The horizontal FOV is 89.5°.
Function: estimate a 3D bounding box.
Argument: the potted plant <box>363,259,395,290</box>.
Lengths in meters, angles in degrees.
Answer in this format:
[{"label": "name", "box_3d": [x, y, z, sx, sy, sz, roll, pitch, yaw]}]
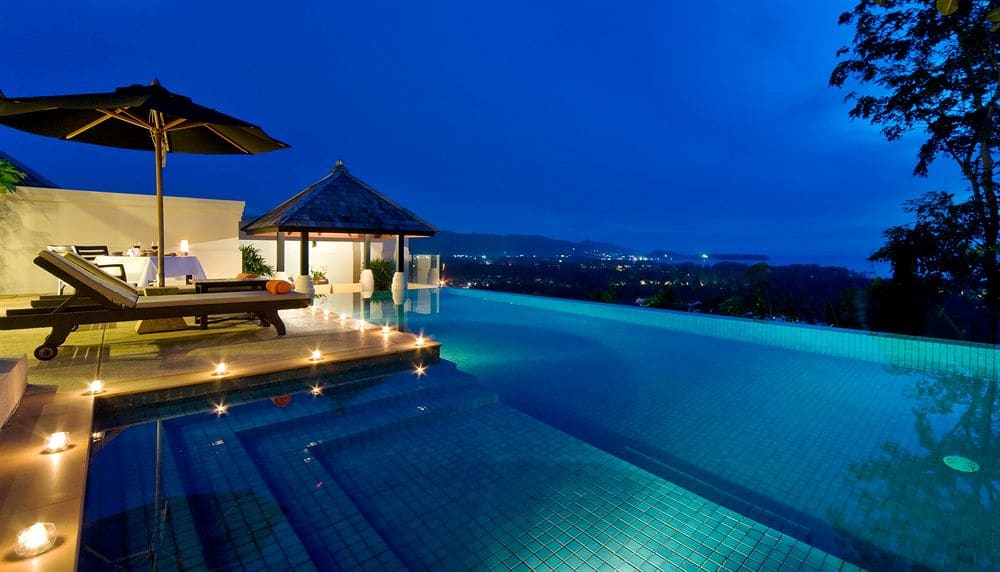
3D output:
[{"label": "potted plant", "box_3d": [-5.458, -0.561, 22.902, 1.049, 1.281, 0.768, 1, 2, -13]}]

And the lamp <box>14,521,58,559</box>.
[{"label": "lamp", "box_3d": [-6.349, 3.413, 6.841, 0.496, 0.262, 0.460, 3, -8, -15]}]

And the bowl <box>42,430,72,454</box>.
[{"label": "bowl", "box_3d": [-6.791, 2.380, 7.680, 0.322, 0.098, 0.304, -1, 7, 0]}]

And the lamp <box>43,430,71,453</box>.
[{"label": "lamp", "box_3d": [-6.792, 2.378, 7.687, 0.322, 0.098, 0.304, 0, 7, 10]}]

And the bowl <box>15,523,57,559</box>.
[{"label": "bowl", "box_3d": [-6.384, 3.433, 6.964, 0.494, 0.262, 0.456, 1, -8, 0]}]

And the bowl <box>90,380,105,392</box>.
[{"label": "bowl", "box_3d": [-6.958, 1.708, 8.622, 0.205, 0.185, 0.193, -3, -4, 0]}]
